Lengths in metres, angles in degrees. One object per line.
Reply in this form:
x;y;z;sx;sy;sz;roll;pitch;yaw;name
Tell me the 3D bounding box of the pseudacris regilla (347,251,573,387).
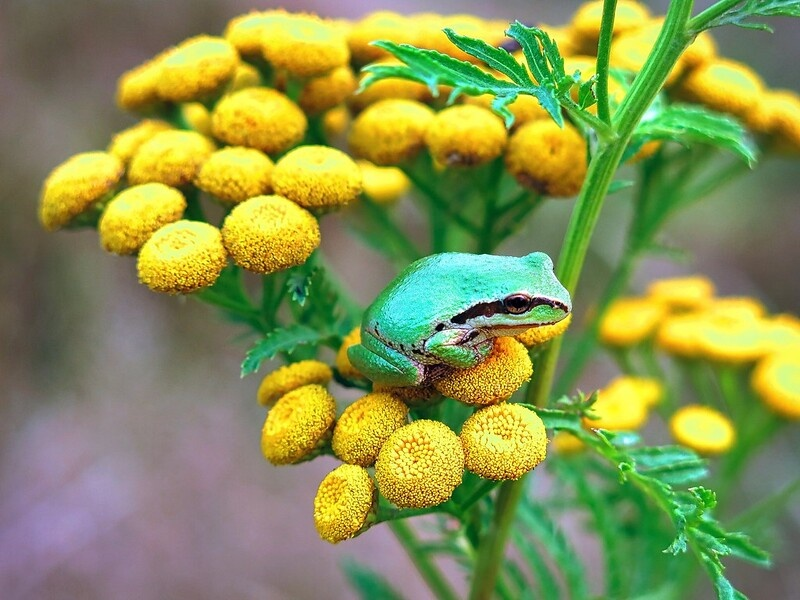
0.095;0.010;1.171;0.314;0.190;0.266;4;33;24;pseudacris regilla
